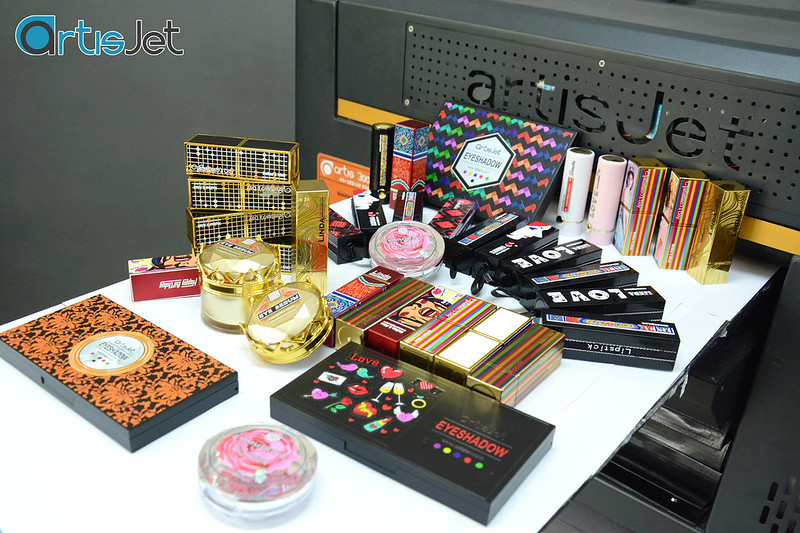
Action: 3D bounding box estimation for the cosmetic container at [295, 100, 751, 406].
[{"bbox_3d":[0.180,-0.103,1.631,0.667,0.442,0.596,18,41,21],"label":"cosmetic container"}]

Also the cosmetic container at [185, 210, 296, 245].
[{"bbox_3d":[-0.370,-0.095,1.264,0.307,0.068,0.281,2,8,8],"label":"cosmetic container"}]

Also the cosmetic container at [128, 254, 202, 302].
[{"bbox_3d":[-0.474,0.019,1.111,0.161,0.086,0.076,-4,1,-13],"label":"cosmetic container"}]

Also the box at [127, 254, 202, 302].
[{"bbox_3d":[-0.473,0.020,1.112,0.161,0.086,0.076,-4,1,-13],"label":"box"}]

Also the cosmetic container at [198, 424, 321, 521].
[{"bbox_3d":[-0.208,0.299,0.819,0.165,0.063,0.121,-1,34,-11],"label":"cosmetic container"}]

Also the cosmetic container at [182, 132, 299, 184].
[{"bbox_3d":[-0.334,-0.207,1.156,0.201,0.067,0.063,2,-3,-17],"label":"cosmetic container"}]
